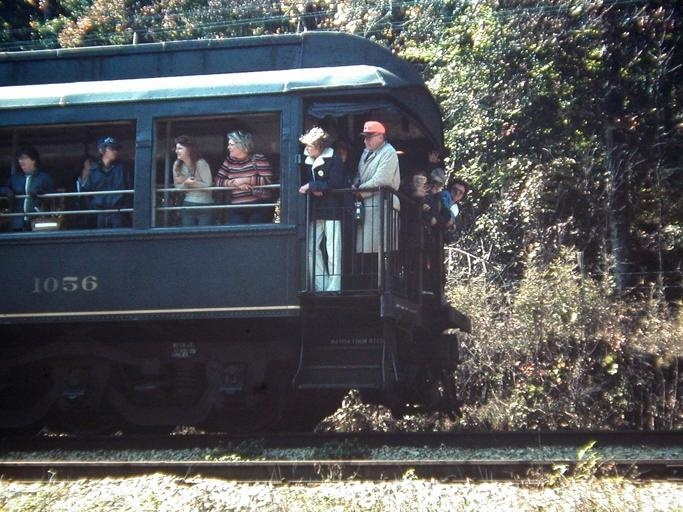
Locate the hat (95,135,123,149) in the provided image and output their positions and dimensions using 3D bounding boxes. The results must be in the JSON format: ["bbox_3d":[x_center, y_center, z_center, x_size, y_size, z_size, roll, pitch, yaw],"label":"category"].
[{"bbox_3d":[-3.471,-1.713,15.831,0.261,0.146,0.195,-13,-13,40],"label":"hat"}]

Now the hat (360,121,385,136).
[{"bbox_3d":[0.461,-1.864,15.450,0.270,0.156,0.198,6,8,5],"label":"hat"}]

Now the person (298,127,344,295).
[{"bbox_3d":[-0.300,-0.664,15.155,0.649,2.293,0.350,2,1,-3],"label":"person"}]

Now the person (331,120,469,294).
[{"bbox_3d":[0.791,-0.700,15.878,0.972,1.630,2.246,2,1,18],"label":"person"}]
